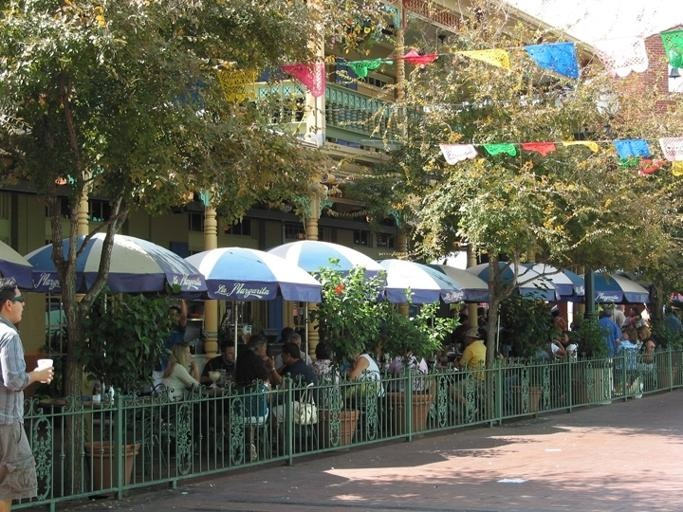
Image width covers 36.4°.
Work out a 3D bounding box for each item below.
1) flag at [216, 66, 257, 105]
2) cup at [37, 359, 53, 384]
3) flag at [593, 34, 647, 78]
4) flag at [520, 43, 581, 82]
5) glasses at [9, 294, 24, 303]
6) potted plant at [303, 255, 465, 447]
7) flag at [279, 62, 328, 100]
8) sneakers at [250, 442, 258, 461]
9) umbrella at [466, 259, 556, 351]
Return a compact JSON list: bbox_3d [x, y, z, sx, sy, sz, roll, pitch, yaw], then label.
[{"bbox_3d":[-1.554,-2.559,15.452,0.509,0.574,0.444,-3,2,-11],"label":"flag"},{"bbox_3d":[-3.312,1.254,11.549,0.266,0.302,0.273,0,-2,0],"label":"cup"},{"bbox_3d":[5.116,-3.527,18.546,0.585,0.667,0.984,5,-10,-43],"label":"flag"},{"bbox_3d":[3.725,-3.276,17.599,0.731,0.742,0.170,1,-45,-25],"label":"flag"},{"bbox_3d":[-3.736,0.470,11.855,0.150,0.054,0.155,-2,-2,26],"label":"glasses"},{"bbox_3d":[0.230,1.598,17.596,2.836,3.228,2.311,5,-6,-40],"label":"potted plant"},{"bbox_3d":[-0.587,-2.942,16.850,0.699,0.205,0.743,10,2,36],"label":"flag"},{"bbox_3d":[-1.265,2.788,15.017,0.098,0.313,0.129,-4,7,6],"label":"sneakers"},{"bbox_3d":[3.780,1.108,21.653,2.022,2.126,1.667,1,-4,-40],"label":"umbrella"}]
